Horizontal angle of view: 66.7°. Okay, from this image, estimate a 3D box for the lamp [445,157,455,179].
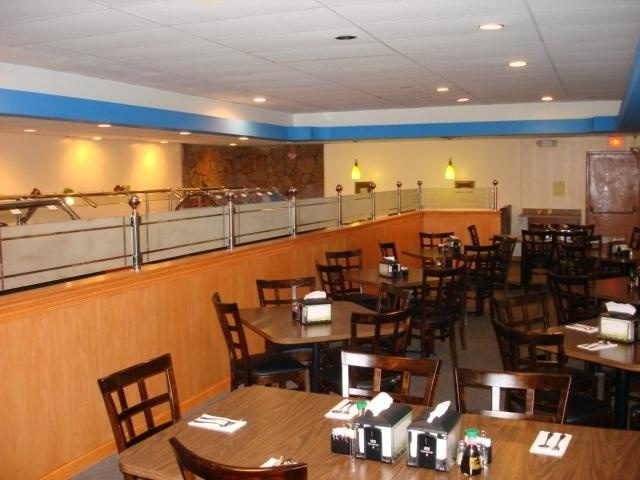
[{"bbox_3d":[3.091,-1.710,11.537,0.260,0.524,0.694,-3,5,14],"label":"lamp"}]

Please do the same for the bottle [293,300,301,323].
[{"bbox_3d":[-0.184,0.555,3.852,0.080,0.148,0.260,-5,5,-6],"label":"bottle"}]

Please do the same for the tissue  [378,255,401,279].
[{"bbox_3d":[0.810,0.316,5.711,0.192,0.225,0.274,0,4,-18],"label":"tissue "}]

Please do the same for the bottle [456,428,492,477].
[{"bbox_3d":[0.610,0.802,1.882,0.089,0.149,0.191,0,6,37],"label":"bottle"}]

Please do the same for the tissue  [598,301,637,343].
[{"bbox_3d":[2.109,0.586,3.434,0.168,0.229,0.296,-4,6,-42],"label":"tissue "}]

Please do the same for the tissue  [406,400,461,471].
[{"bbox_3d":[0.459,0.774,1.989,0.229,0.243,0.293,-1,-2,29],"label":"tissue "}]

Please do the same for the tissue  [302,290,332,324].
[{"bbox_3d":[-0.015,0.533,3.883,0.301,0.222,0.259,1,-2,-19],"label":"tissue "}]
